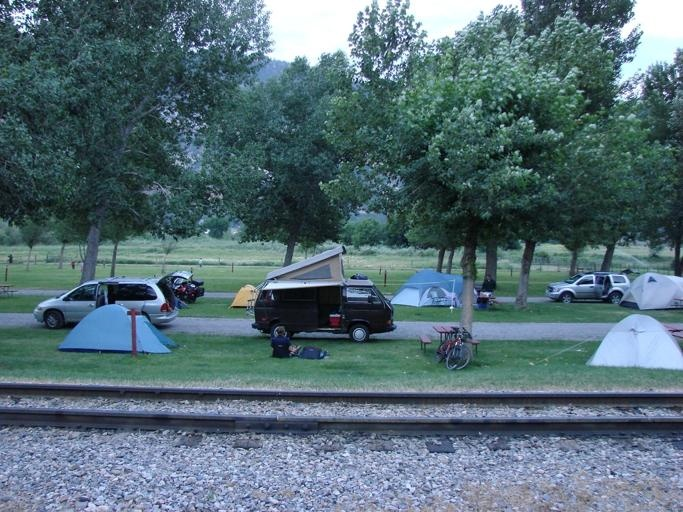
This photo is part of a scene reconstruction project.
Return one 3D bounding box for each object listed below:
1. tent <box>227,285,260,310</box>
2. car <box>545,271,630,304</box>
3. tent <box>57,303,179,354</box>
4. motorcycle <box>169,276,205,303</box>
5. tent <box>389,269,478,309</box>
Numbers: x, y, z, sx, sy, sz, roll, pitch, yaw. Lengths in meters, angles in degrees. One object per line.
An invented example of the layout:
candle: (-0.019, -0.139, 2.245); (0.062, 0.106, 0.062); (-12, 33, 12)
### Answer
tent: (-5.207, 2.240, 41.482); (1.884, 0.936, 1.738); (0, 2, -2)
car: (15.493, 1.978, 48.707); (4.396, 1.590, 2.077); (2, 0, 6)
tent: (-8.680, 2.900, 29.991); (3.226, 1.101, 2.253); (1, 0, 0)
motorcycle: (-8.852, 1.969, 44.168); (2.186, 1.102, 1.031); (8, 7, 13)
tent: (5.070, 1.912, 43.334); (4.749, 1.886, 4.795); (3, 6, 10)
